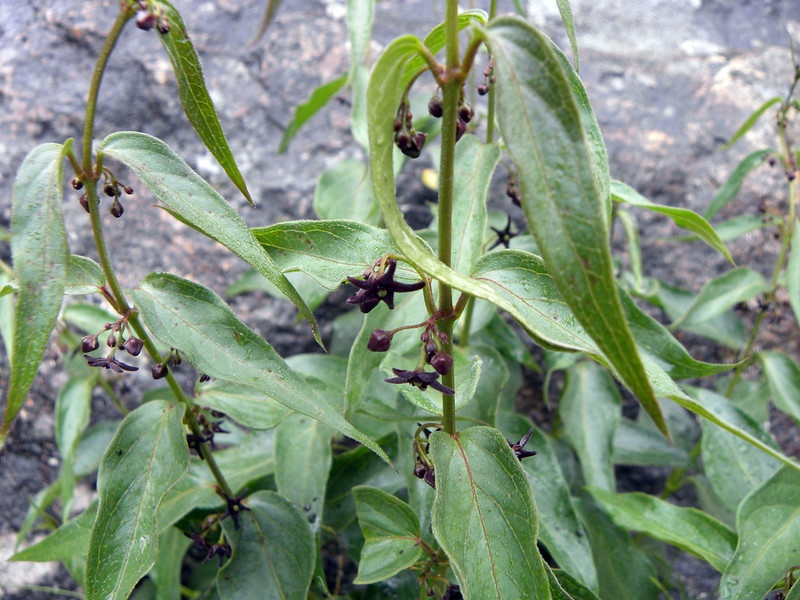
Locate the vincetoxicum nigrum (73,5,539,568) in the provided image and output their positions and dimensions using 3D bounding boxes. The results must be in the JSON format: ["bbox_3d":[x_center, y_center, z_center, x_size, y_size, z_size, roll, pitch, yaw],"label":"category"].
[{"bbox_3d":[-0.365,-0.014,2.566,1.218,1.581,0.893,-4,40,9],"label":"vincetoxicum nigrum"}]
